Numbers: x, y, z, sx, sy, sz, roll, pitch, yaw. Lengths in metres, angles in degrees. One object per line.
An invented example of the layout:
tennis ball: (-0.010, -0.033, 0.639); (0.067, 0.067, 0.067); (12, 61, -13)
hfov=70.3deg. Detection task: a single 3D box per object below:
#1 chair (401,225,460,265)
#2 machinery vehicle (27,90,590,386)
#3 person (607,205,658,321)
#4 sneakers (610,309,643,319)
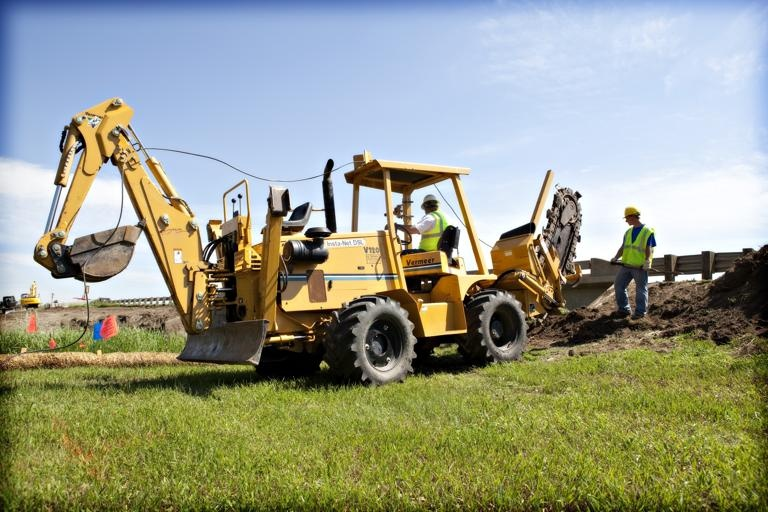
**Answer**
chair: (0.800, -0.080, 9.647); (1.145, 0.769, 0.667); (-7, -6, 20)
machinery vehicle: (-0.163, 0.012, 9.708); (9.985, 3.972, 2.946); (0, -5, -31)
person: (4.951, 0.101, 10.845); (0.753, 2.134, 0.997); (1, 6, 24)
sneakers: (4.767, 1.154, 10.718); (0.588, 0.236, 0.182); (-8, -4, 18)
